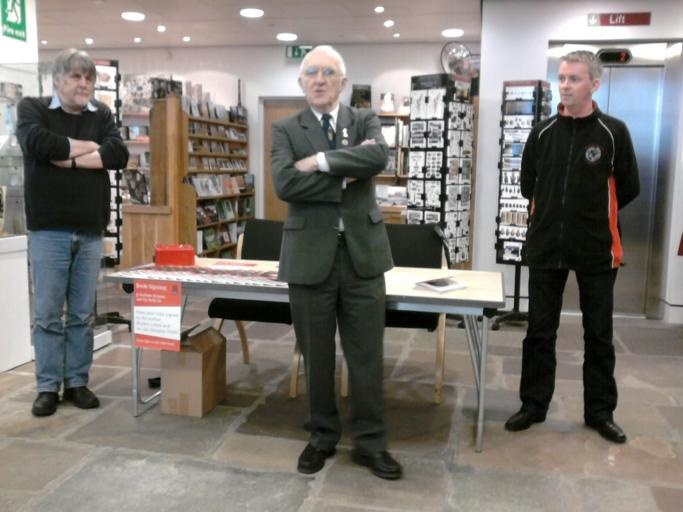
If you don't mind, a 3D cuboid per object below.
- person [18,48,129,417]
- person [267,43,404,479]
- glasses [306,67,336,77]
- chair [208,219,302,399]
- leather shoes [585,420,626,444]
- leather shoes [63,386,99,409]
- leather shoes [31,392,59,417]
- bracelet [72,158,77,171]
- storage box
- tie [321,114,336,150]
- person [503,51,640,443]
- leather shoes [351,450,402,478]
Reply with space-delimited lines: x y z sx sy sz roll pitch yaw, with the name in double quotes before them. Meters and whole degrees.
"person" -1.727 -0.155 3.546 0.602 2.263 0.425 -3 10 -22
"person" -0.027 0.051 2.822 0.667 2.180 0.381 0 9 -5
"glasses" -0.107 -0.906 2.711 0.146 0.044 0.037 0 9 -4
"chair" -0.588 0.343 4.070 0.715 1.172 0.770 0 6 1
"leather shoes" 1.600 1.051 3.320 0.083 0.089 0.219 -9 5 -32
"leather shoes" -1.720 0.919 3.630 0.291 0.109 0.110 3 3 30
"leather shoes" -1.898 0.941 3.493 0.151 0.114 0.148 -5 11 -33
"bracelet" -1.695 -0.578 3.456 0.030 0.072 0.071 -3 -2 -27
"storage box" -0.976 0.774 3.690 0.264 0.491 0.495 1 -2 8
"tie" -0.061 -0.629 2.826 0.053 0.205 0.053 -7 0 26
"person" 1.408 -0.059 3.288 0.682 2.254 0.436 3 9 17
"leather shoes" 0.173 1.084 2.894 0.272 0.115 0.112 1 0 39
